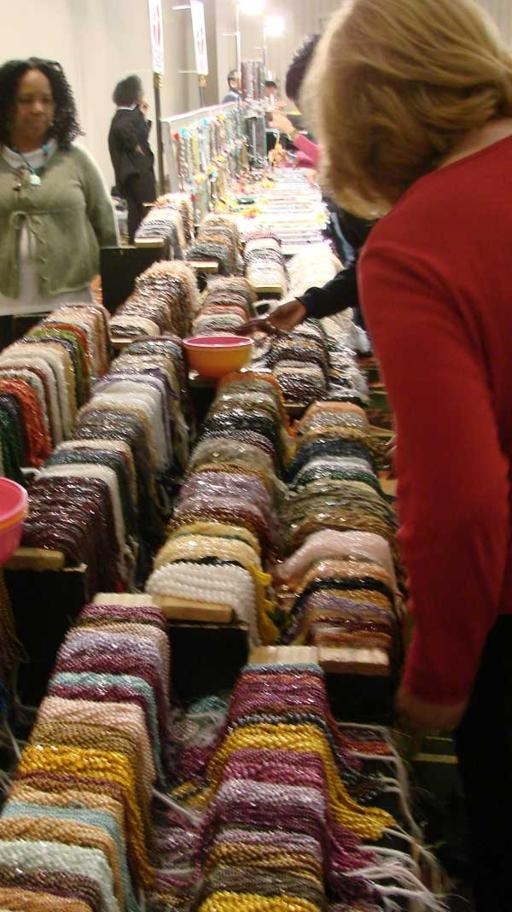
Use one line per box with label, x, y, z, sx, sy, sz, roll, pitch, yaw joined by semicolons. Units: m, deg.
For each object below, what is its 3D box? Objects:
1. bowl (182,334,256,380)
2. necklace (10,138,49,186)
bowl;-0.111;-0.335;2.258;0.225;0.139;0.201;10;27;33
necklace;-0.973;-1.280;2.898;0.142;0.101;0.199;-15;31;3
